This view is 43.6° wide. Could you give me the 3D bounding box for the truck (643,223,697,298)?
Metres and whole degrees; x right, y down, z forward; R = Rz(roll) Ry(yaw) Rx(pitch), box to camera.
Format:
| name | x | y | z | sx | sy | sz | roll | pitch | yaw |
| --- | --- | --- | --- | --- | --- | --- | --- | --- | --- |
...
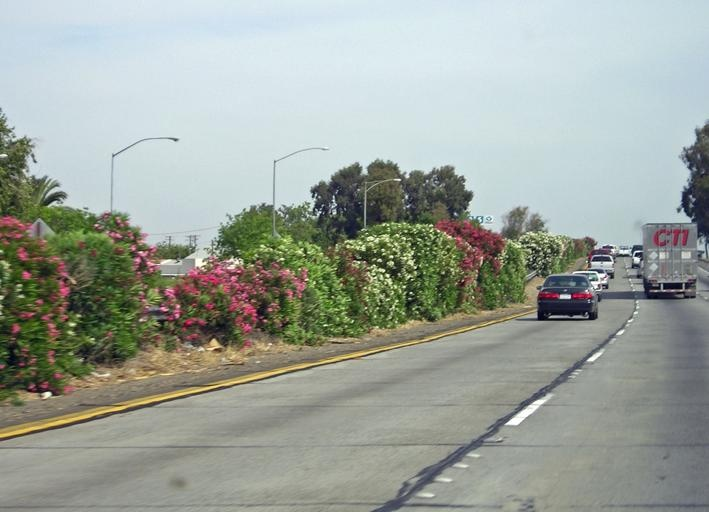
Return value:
| name | x | y | z | sx | sy | sz | roll | pitch | yaw |
| --- | --- | --- | --- | --- | --- | --- | --- | --- | --- |
| truck | 17.749 | 0.193 | 50.320 | 2.758 | 4.026 | 1.824 | 0 | 1 | 18 |
